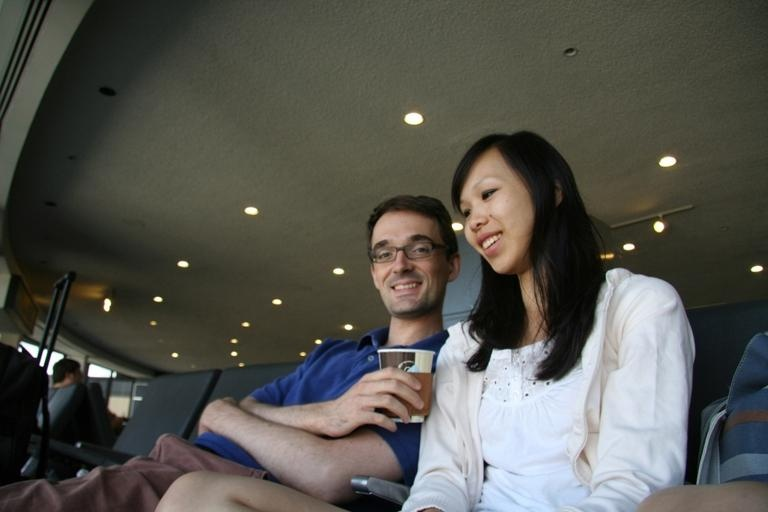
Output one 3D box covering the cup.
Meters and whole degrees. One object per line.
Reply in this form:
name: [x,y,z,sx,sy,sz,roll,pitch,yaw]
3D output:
cup: [0.068,0.432,1.787,0.222,0.223,0.224,0,-15,0]
